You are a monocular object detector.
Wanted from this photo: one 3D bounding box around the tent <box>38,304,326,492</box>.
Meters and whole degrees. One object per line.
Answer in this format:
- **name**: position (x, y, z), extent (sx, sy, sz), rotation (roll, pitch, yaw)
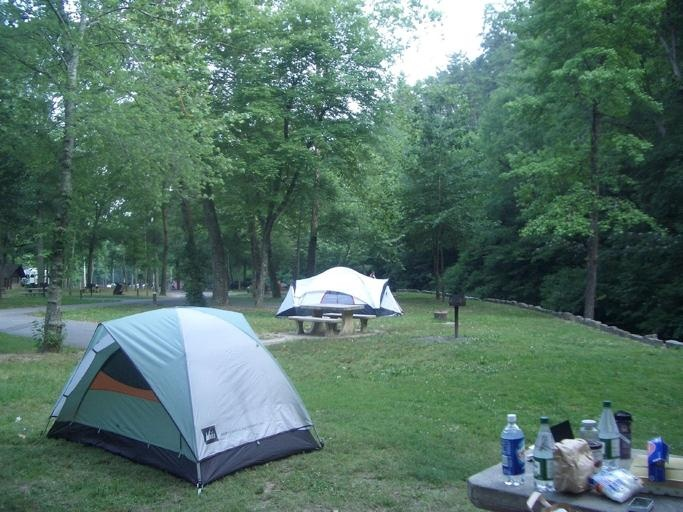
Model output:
- **tent**: position (-3.295, 2.828, 14.511), extent (4.186, 2.379, 3.517), rotation (2, 2, 30)
